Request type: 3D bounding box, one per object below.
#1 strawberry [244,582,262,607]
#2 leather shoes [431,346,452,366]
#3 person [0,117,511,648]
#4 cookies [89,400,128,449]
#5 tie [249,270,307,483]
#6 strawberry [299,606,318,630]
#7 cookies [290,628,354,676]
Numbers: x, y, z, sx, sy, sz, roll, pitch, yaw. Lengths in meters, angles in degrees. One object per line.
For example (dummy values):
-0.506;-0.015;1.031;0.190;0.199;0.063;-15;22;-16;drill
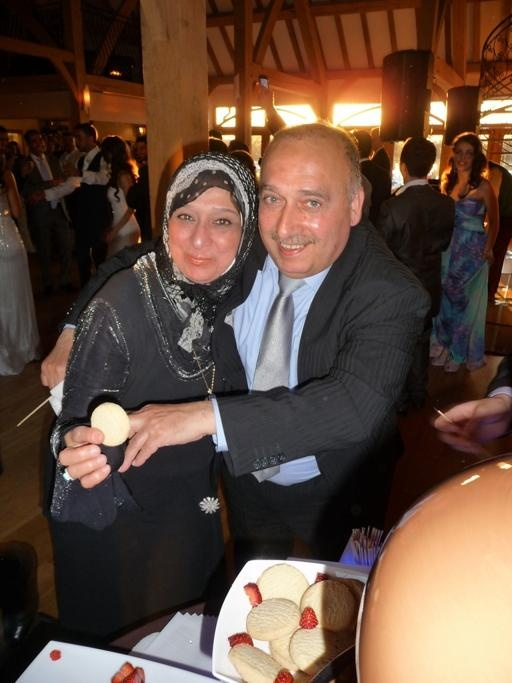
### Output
-0.007;0.444;0.879;0.019;0.034;0.011;-21;-21;-7;strawberry
1.598;0.124;4.390;0.208;0.195;0.096;7;19;17;leather shoes
-0.053;0.187;1.170;0.957;1.236;0.617;-15;26;-20;person
-0.251;0.145;0.907;0.074;0.073;0.018;-37;4;20;cookies
0.055;0.068;1.268;0.105;0.546;0.080;10;-9;-11;tie
0.087;0.463;0.843;0.026;0.031;0.013;-1;-8;13;strawberry
0.102;0.494;0.802;0.100;0.055;0.088;-1;25;10;cookies
